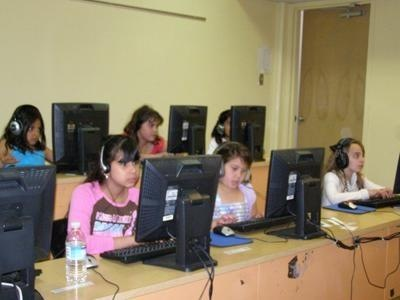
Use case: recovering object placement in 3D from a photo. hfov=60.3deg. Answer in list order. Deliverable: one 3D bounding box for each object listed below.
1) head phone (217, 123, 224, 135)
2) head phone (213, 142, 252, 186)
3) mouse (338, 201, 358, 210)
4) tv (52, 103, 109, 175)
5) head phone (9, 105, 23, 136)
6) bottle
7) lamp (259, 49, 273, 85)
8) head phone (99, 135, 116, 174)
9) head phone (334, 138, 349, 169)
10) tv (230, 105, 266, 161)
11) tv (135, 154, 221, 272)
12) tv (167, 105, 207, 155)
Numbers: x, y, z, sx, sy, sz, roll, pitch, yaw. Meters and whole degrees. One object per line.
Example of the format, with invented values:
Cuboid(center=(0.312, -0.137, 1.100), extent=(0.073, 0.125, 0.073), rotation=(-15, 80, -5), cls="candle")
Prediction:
Cuboid(center=(0.220, -0.223, 3.682), extent=(0.074, 0.114, 0.028), rotation=(5, 7, 12), cls="head phone")
Cuboid(center=(0.229, 0.073, 2.206), extent=(0.200, 0.286, 0.274), rotation=(4, -3, 9), cls="head phone")
Cuboid(center=(1.078, 0.394, 2.502), extent=(0.054, 0.030, 0.086), rotation=(-1, 0, -38), cls="mouse")
Cuboid(center=(-0.908, -0.099, 2.770), extent=(0.483, 0.566, 0.279), rotation=(-6, 7, -42), cls="tv")
Cuboid(center=(-1.447, -0.226, 2.720), extent=(0.089, 0.230, 0.144), rotation=(-3, 5, -31), cls="head phone")
Cuboid(center=(-0.493, 0.399, 1.376), extent=(0.081, 0.224, 0.162), rotation=(-2, 4, -21), cls="bottle")
Cuboid(center=(0.992, -1.262, 5.276), extent=(0.200, 0.553, 0.125), rotation=(-5, 6, -43), cls="lamp")
Cuboid(center=(-0.490, 0.028, 1.814), extent=(0.074, 0.211, 0.150), rotation=(-2, 4, -15), cls="head phone")
Cuboid(center=(1.118, 0.035, 2.728), extent=(0.084, 0.230, 0.195), rotation=(-5, -14, 25), cls="head phone")
Cuboid(center=(0.425, -0.176, 3.111), extent=(0.484, 0.519, 0.171), rotation=(-5, 10, -44), cls="tv")
Cuboid(center=(-0.075, 0.262, 1.520), extent=(0.393, 0.472, 0.244), rotation=(1, -1, -38), cls="tv")
Cuboid(center=(-0.109, -0.173, 2.971), extent=(0.381, 0.414, 0.139), rotation=(-4, 13, -31), cls="tv")
